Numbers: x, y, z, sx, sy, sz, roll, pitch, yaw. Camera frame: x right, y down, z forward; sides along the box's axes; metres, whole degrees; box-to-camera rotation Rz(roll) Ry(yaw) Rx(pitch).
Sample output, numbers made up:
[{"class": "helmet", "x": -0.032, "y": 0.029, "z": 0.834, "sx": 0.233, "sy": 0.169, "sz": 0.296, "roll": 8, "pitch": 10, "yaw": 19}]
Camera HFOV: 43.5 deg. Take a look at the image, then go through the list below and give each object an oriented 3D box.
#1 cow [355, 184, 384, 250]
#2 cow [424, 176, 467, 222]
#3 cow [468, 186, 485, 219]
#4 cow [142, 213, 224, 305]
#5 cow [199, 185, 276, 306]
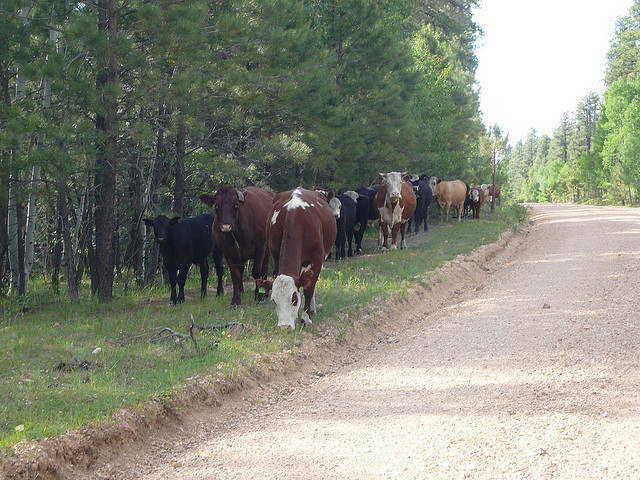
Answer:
[{"class": "cow", "x": 2.188, "y": -0.950, "z": 32.158, "sx": 0.972, "sy": 2.523, "sz": 4.185, "roll": -6, "pitch": -3, "yaw": -3}, {"class": "cow", "x": 5.715, "y": -1.822, "z": 35.550, "sx": 0.878, "sy": 1.861, "sz": 2.971, "roll": 2, "pitch": 2, "yaw": 40}, {"class": "cow", "x": 7.225, "y": -1.697, "z": 36.792, "sx": 0.608, "sy": 1.506, "sz": 1.578, "roll": 3, "pitch": 13, "yaw": 8}, {"class": "cow", "x": -3.642, "y": 0.419, "z": 22.160, "sx": 1.107, "sy": 2.450, "sz": 3.944, "roll": -2, "pitch": 3, "yaw": 15}, {"class": "cow", "x": -2.029, "y": -0.027, "z": 21.344, "sx": 1.366, "sy": 3.091, "sz": 2.868, "roll": 4, "pitch": 13, "yaw": 13}]
